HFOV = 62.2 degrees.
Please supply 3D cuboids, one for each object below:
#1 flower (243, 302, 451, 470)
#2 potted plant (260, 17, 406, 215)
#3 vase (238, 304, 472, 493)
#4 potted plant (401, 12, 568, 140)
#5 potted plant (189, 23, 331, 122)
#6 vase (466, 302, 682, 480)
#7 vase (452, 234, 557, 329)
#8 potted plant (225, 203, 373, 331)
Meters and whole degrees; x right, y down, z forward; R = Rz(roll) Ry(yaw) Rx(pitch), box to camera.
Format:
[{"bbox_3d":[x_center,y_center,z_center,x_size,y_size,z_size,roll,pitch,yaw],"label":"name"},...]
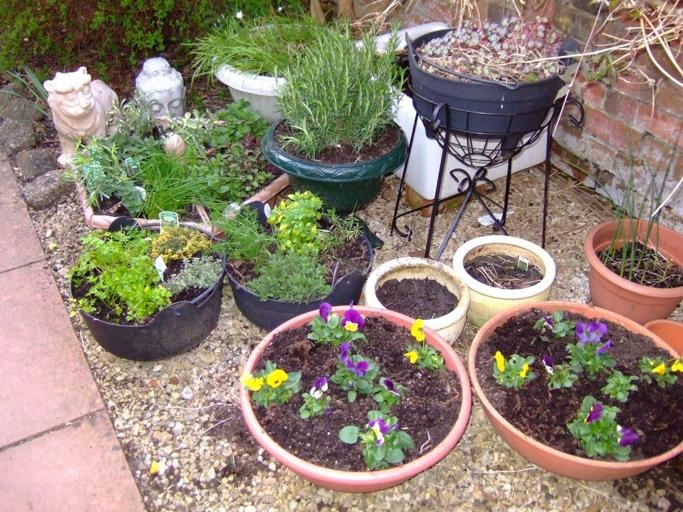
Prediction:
[{"bbox_3d":[0.120,0.652,2.725,1.021,0.260,1.114,3,33,-11],"label":"flower"},{"bbox_3d":[-0.047,-0.778,3.551,0.911,1.075,0.986,7,28,22],"label":"potted plant"},{"bbox_3d":[0.064,0.627,2.610,1.018,0.513,0.831,-12,47,-7],"label":"vase"},{"bbox_3d":[0.799,-0.892,3.144,0.888,0.471,1.012,7,23,1],"label":"potted plant"},{"bbox_3d":[-0.511,-1.474,4.184,0.943,0.513,0.938,-27,46,-31],"label":"potted plant"},{"bbox_3d":[1.105,0.655,2.754,0.962,0.414,0.792,18,51,20],"label":"vase"},{"bbox_3d":[0.860,0.111,3.112,0.512,0.388,0.528,24,47,33],"label":"vase"},{"bbox_3d":[-0.161,0.185,3.135,0.712,0.340,0.672,-23,50,-26],"label":"potted plant"}]
